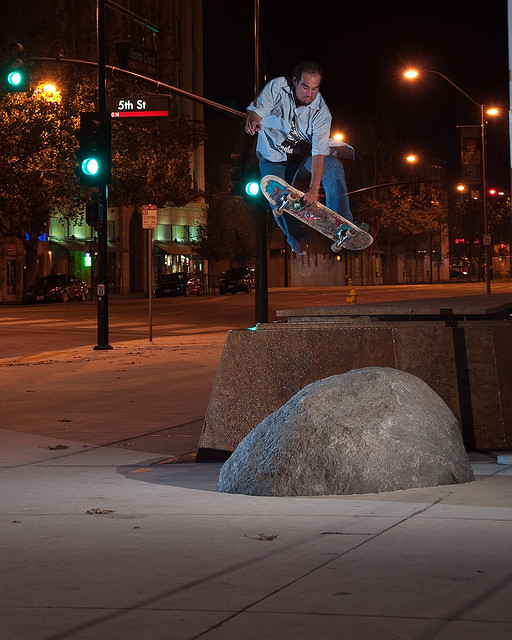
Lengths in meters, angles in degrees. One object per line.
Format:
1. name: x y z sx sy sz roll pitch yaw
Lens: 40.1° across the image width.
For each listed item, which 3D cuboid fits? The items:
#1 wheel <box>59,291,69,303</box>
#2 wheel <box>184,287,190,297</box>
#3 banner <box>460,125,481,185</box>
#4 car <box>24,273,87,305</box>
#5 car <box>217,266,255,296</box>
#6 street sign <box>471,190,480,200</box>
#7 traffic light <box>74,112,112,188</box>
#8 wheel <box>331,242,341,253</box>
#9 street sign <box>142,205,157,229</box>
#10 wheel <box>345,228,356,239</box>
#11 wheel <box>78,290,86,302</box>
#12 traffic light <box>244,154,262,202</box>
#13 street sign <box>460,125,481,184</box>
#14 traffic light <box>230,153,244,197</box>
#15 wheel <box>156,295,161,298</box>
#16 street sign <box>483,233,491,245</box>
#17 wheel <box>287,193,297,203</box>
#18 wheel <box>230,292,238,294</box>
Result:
1. wheel: -13.554 -1.628 49.673 0.252 0.797 0.783 -4 -6 14
2. wheel: -5.677 -2.284 57.814 0.190 0.728 0.751 1 -1 27
3. banner: 8.528 -6.547 27.993 0.890 2.358 0.094 -1 1 8
4. car: -13.987 -2.253 50.114 1.697 2.103 4.375 0 -1 36
5. car: -1.737 -3.412 61.632 2.484 2.325 1.367 1 -1 15
6. street sign: 11.595 -6.683 37.388 0.081 0.859 0.847 6 11 39
7. traffic light: -4.372 -4.665 19.233 0.859 2.186 0.959 -4 10 -11
8. wheel: 1.613 -1.463 14.323 0.192 0.195 0.056 -31 3 -11
9. street sign: -3.202 -3.156 21.321 0.363 0.863 1.386 1 -1 -6
10. wheel: 1.922 -1.756 14.290 0.179 0.183 0.132 -13 15 -16
11. wheel: -12.845 -1.789 52.008 0.284 0.825 0.812 0 -3 13
12. traffic light: -0.081 -3.520 17.377 0.359 1.352 1.083 1 -1 -8
13. street sign: 8.527 -6.490 28.056 0.949 2.434 0.250 0 1 3
14. traffic light: -0.460 -3.716 17.789 0.332 1.214 0.760 1 -1 -3
15. wheel: -7.932 -1.903 57.430 0.292 0.210 0.161 10 18 41
16. street sign: 12.835 -4.573 39.235 0.396 0.689 1.208 1 -1 17
17. wheel: 0.740 -2.499 14.426 0.172 0.173 0.101 41 0 -1
18. wheel: -1.930 -2.355 62.048 0.199 0.146 0.109 1 -13 -1
